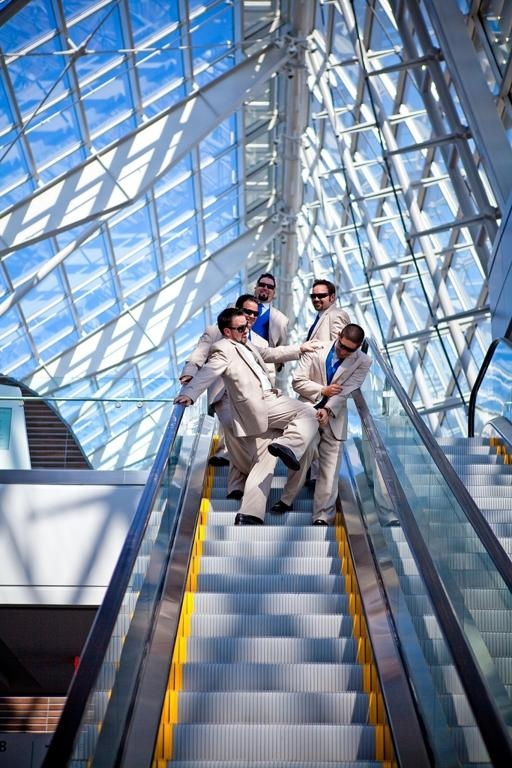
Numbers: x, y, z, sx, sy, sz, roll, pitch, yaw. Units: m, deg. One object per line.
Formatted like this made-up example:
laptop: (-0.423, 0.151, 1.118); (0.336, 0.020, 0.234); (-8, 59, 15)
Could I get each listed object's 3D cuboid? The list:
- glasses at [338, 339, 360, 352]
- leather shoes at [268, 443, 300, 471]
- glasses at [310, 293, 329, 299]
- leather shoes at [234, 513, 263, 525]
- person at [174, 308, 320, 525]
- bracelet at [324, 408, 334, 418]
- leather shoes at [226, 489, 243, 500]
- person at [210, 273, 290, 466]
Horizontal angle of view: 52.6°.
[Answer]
glasses: (0.821, -0.334, 4.726); (0.109, 0.038, 0.124); (16, -38, 9)
leather shoes: (0.205, 0.565, 4.069); (0.216, 0.198, 0.203); (-7, 2, 0)
glasses: (0.700, -0.984, 5.782); (0.197, 0.064, 0.111); (-7, 2, 17)
leather shoes: (-0.065, 1.079, 4.211); (0.245, 0.123, 0.088); (0, -4, -3)
person: (-0.006, 0.208, 4.694); (1.073, 1.732, 1.261); (-6, 2, 6)
bracelet: (0.654, 0.257, 4.665); (0.060, 0.091, 0.027); (-21, -7, -30)
leather shoes: (-0.202, 1.042, 4.876); (0.120, 0.089, 0.158); (-5, -13, 5)
person: (-0.058, -0.036, 6.903); (0.907, 2.940, 0.848); (9, 18, -14)
